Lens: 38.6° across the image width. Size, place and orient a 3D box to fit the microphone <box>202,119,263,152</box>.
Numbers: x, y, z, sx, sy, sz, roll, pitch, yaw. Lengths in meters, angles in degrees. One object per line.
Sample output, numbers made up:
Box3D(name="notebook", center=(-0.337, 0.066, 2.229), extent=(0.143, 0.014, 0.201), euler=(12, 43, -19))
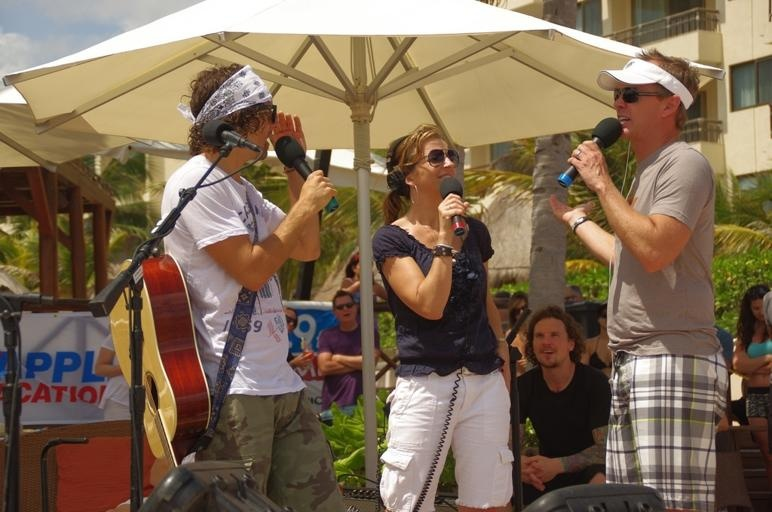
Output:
Box3D(name="microphone", center=(-1.074, -0.839, 7.465), extent=(0.395, 0.173, 0.178), euler=(23, -1, 19))

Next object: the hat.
Box3D(name="hat", center=(1.821, -1.252, 7.773), extent=(0.549, 0.169, 0.381), euler=(21, 1, -2))

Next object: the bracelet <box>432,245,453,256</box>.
Box3D(name="bracelet", center=(0.398, -0.039, 7.755), extent=(0.105, 0.057, 0.077), euler=(7, -8, -32))

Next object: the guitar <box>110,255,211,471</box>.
Box3D(name="guitar", center=(-1.411, 0.681, 7.344), extent=(0.467, 1.370, 0.370), euler=(-2, -8, -11))
